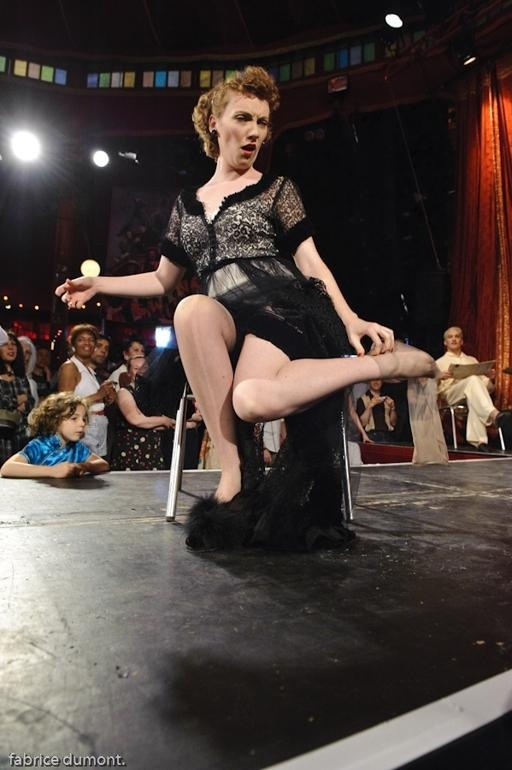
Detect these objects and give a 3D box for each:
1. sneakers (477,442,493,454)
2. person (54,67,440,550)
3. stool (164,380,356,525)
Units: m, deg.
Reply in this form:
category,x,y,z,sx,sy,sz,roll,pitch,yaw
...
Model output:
category,x,y,z,sx,sy,sz,roll,pitch,yaw
sneakers,1.916,0.526,4.878,0.071,0.057,0.145,-1,-7,9
person,-0.048,-0.202,1.355,0.858,1.063,0.440,-1,-4,21
stool,0.009,0.198,1.613,0.487,0.420,0.368,0,-15,3
